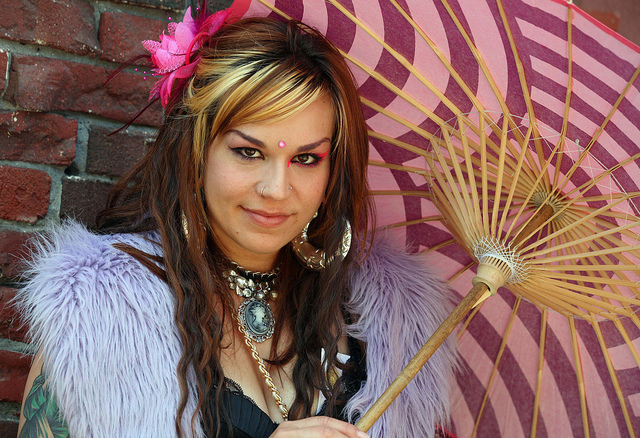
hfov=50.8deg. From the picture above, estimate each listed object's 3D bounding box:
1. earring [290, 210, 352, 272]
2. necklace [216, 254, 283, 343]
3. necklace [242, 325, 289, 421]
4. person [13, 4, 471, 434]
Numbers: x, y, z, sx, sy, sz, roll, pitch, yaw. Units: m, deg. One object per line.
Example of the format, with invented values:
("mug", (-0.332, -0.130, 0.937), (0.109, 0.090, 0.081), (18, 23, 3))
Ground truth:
("earring", (-0.014, 0.102, 2.286), (0.163, 0.226, 0.064), (11, -5, 23))
("necklace", (-0.215, 0.261, 2.239), (0.258, 0.032, 0.353), (13, 39, -23))
("necklace", (-0.180, 0.492, 2.135), (0.029, 0.279, 0.028), (-23, 1, -35))
("person", (-0.257, 0.002, 2.103), (1.060, 1.651, 0.688), (2, 4, -31))
